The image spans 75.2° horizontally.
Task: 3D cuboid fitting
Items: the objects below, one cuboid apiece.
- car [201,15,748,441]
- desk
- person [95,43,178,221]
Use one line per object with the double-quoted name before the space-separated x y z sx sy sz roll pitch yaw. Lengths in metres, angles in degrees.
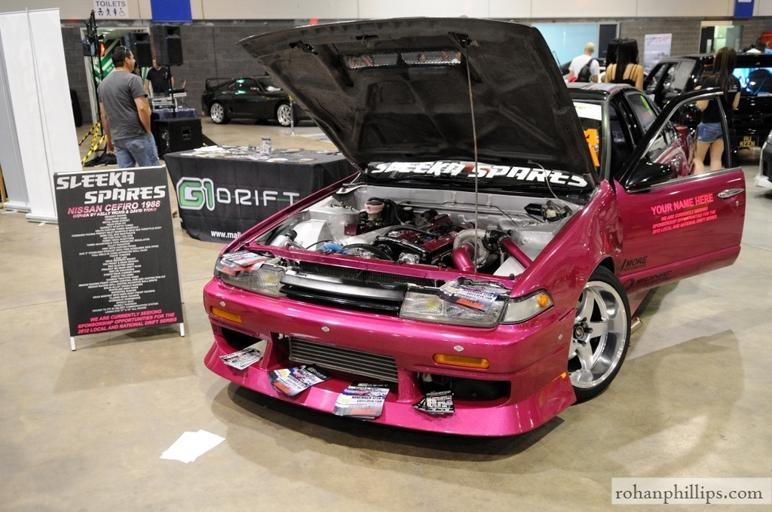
"car" 0.860 -0.372 3.957 2.887 1.627 3.657 9 25 38
"desk" -1.621 -0.923 7.148 2.522 1.164 1.427 5 18 22
"person" -3.702 -2.145 7.275 0.832 1.692 0.525 11 23 40
